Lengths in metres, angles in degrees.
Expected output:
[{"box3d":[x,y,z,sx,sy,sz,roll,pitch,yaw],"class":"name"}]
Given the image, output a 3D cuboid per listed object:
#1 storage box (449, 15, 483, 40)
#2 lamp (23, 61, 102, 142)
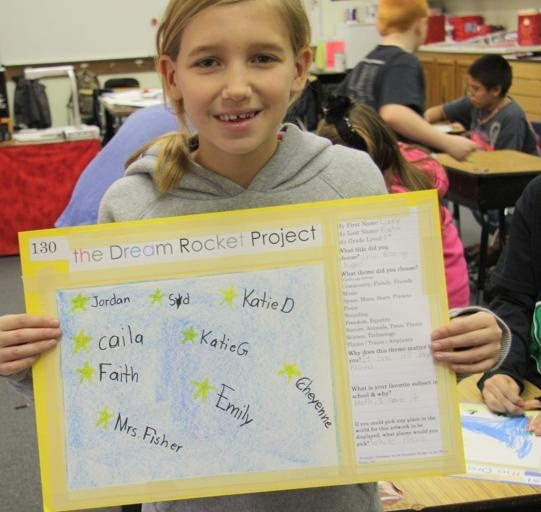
[{"box3d":[2.394,-2.820,6.720,0.294,0.258,0.368,-16,19,-37],"class":"storage box"},{"box3d":[-1.890,-1.311,4.903,0.810,0.670,0.555,-5,1,0],"class":"lamp"}]
